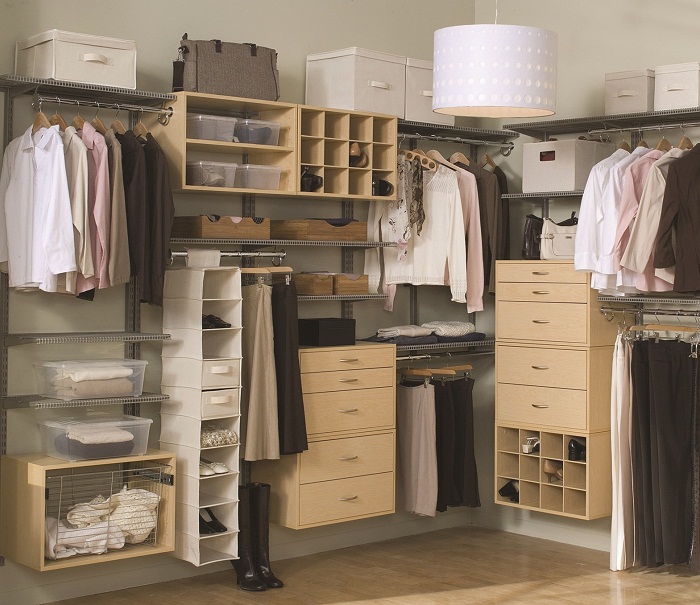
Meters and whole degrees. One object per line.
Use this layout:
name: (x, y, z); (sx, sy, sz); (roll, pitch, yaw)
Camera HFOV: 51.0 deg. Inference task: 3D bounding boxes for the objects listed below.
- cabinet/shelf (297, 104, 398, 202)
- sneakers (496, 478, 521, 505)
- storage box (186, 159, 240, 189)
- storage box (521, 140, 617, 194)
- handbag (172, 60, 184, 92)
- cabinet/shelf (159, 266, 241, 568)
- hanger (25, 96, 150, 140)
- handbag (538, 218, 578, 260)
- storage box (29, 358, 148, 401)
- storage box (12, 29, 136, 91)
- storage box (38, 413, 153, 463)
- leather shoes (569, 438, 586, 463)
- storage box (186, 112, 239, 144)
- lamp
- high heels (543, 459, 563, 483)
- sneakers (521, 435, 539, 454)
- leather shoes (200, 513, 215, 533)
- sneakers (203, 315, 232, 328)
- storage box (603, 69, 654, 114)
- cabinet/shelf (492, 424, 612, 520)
cabinet/shelf: (-0.010, -0.893, 4.474); (0.834, 0.522, 0.222); (-4, 6, -36)
sneakers: (1.052, 1.250, 4.818); (0.064, 0.081, 0.190); (0, 4, -12)
storage box: (-0.729, -0.677, 3.947); (0.145, 0.110, 0.217); (2, 2, 44)
storage box: (1.340, -0.874, 4.711); (0.418, 0.306, 0.424); (2, 2, 35)
handbag: (-0.925, -1.206, 3.926); (0.048, 0.163, 0.156); (-3, 6, -27)
cabinet/shelf: (-0.780, 0.574, 3.862); (0.345, 1.522, 0.460); (-4, 6, -37)
hanger: (-1.272, -0.945, 3.702); (0.584, 0.177, 0.415); (-3, 6, -23)
handbag: (1.341, -0.397, 4.680); (0.305, 0.311, 0.164); (-1, 0, 15)
storage box: (-1.191, 0.366, 3.516); (0.304, 0.123, 0.250); (-1, 2, -44)
storage box: (-1.332, -1.060, 3.523); (0.381, 0.193, 0.383); (1, 0, -43)
storage box: (-1.174, 0.641, 3.495); (0.306, 0.127, 0.255); (-1, 2, -42)
leather shoes: (1.403, 0.919, 4.505); (0.150, 0.151, 0.054); (1, -1, -33)
storage box: (-0.735, -0.923, 3.936); (0.141, 0.104, 0.212); (6, 6, 35)
lamp: (0.592, -0.960, 3.147); (0.435, 0.497, 0.431); (1, 2, -16)
high heels: (1.288, 1.067, 4.658); (0.062, 0.083, 0.209); (-1, 4, -3)
sneakers: (1.169, 0.900, 4.732); (0.151, 0.143, 0.082); (2, -3, -41)
leather shoes: (-0.750, 1.178, 3.870); (0.042, 0.057, 0.139); (-1, -1, -25)
sneakers: (-0.686, 0.100, 3.788); (0.180, 0.068, 0.060); (-2, -2, 43)
storage box: (1.749, -1.272, 4.574); (0.279, 0.252, 0.289); (1, 3, 24)
cabinet/shelf: (1.303, 1.053, 4.627); (0.234, 0.585, 0.676); (-3, 5, -40)
